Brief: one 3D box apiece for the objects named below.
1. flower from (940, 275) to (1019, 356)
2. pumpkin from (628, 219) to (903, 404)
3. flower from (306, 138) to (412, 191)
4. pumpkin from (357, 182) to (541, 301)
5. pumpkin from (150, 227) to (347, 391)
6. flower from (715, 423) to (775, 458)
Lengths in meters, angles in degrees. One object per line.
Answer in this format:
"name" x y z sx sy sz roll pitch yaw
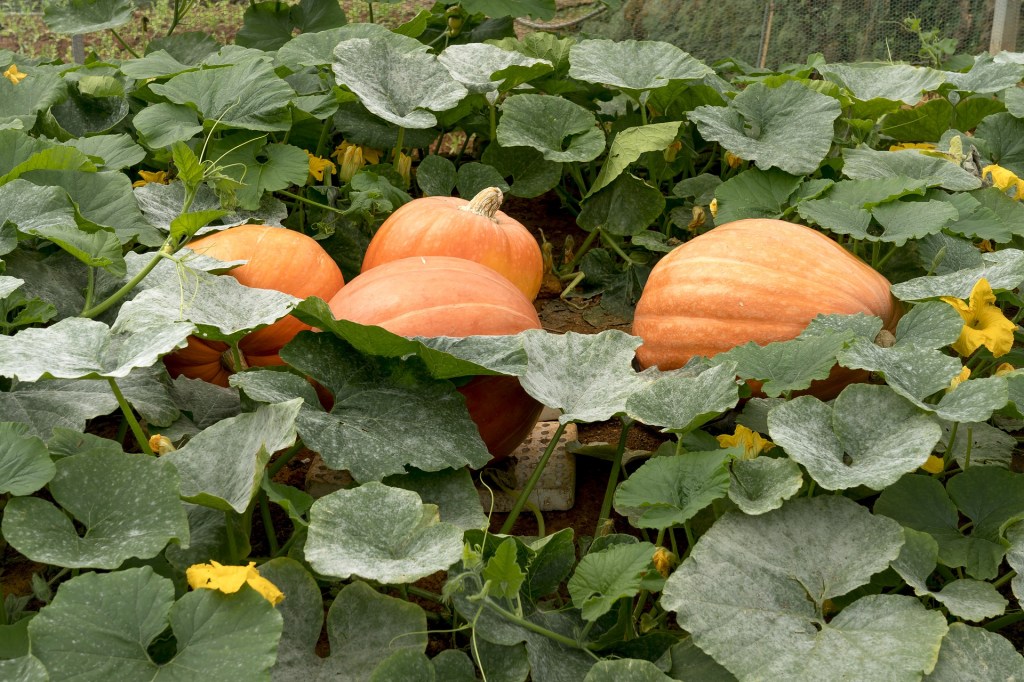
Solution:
"flower" 1.072 -0.069 2.596 0.131 0.144 0.204 -5 43 -2
"pumpkin" 0.664 -0.229 3.084 0.782 0.523 0.532 0 31 6
"flower" -0.508 -0.558 3.544 0.237 0.077 0.207 4 18 -6
"pumpkin" -0.195 -0.251 3.402 0.532 0.392 0.479 12 0 -22
"pumpkin" -0.703 -0.068 3.214 0.470 0.470 0.476 39 -5 -8
"flower" 0.522 0.215 2.573 0.097 0.046 0.087 -9 19 -26
